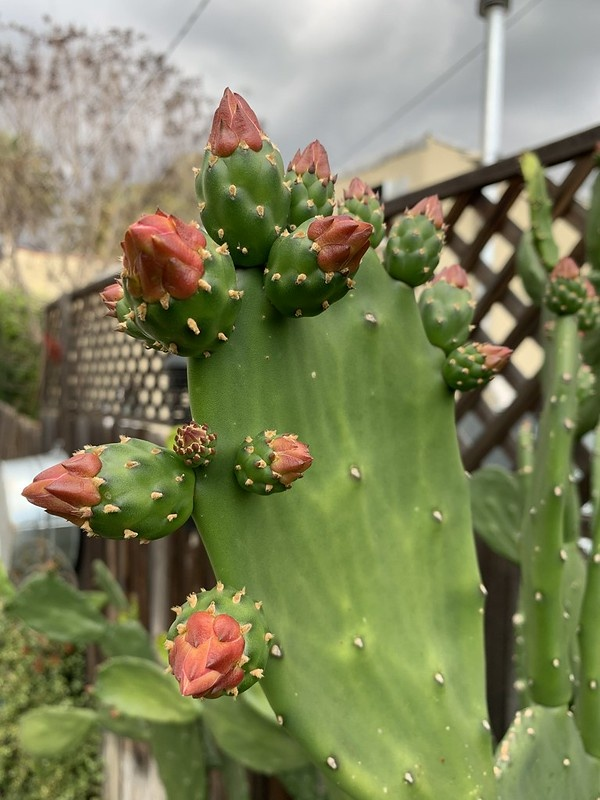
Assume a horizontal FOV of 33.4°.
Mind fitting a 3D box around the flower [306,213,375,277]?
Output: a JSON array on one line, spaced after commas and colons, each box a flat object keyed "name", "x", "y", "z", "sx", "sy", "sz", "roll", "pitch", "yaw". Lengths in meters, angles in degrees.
[{"name": "flower", "x": 0.036, "y": -0.147, "z": 0.931, "sx": 0.049, "sy": 0.061, "sz": 0.030, "roll": 0, "pitch": 29, "yaw": 6}]

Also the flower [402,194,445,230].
[{"name": "flower", "x": 0.133, "y": -0.214, "z": 1.110, "sx": 0.046, "sy": 0.037, "sz": 0.017, "roll": 6, "pitch": -3, "yaw": -4}]

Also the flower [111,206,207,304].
[{"name": "flower", "x": -0.116, "y": -0.126, "z": 0.907, "sx": 0.071, "sy": 0.083, "sz": 0.076, "roll": 15, "pitch": 31, "yaw": 9}]

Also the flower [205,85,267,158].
[{"name": "flower", "x": -0.065, "y": -0.261, "z": 0.971, "sx": 0.064, "sy": 0.077, "sz": 0.053, "roll": -7, "pitch": 21, "yaw": -19}]

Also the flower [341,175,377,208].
[{"name": "flower", "x": 0.068, "y": -0.241, "z": 1.148, "sx": 0.042, "sy": 0.023, "sz": 0.047, "roll": 2, "pitch": -1, "yaw": -15}]

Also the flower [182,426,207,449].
[{"name": "flower", "x": -0.099, "y": 0.034, "z": 0.944, "sx": 0.023, "sy": 0.020, "sz": 0.014, "roll": -8, "pitch": 3, "yaw": -8}]

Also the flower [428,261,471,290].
[{"name": "flower", "x": 0.162, "y": -0.135, "z": 1.105, "sx": 0.033, "sy": 0.043, "sz": 0.033, "roll": 10, "pitch": 6, "yaw": -11}]

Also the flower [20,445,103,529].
[{"name": "flower", "x": -0.202, "y": 0.084, "z": 0.892, "sx": 0.079, "sy": 0.058, "sz": 0.042, "roll": -4, "pitch": -2, "yaw": -7}]

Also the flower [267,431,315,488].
[{"name": "flower", "x": -0.011, "y": 0.055, "z": 0.936, "sx": 0.046, "sy": 0.043, "sz": 0.041, "roll": -1, "pitch": 34, "yaw": -14}]

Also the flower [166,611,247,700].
[{"name": "flower", "x": -0.079, "y": 0.233, "z": 0.889, "sx": 0.077, "sy": 0.069, "sz": 0.066, "roll": -9, "pitch": 3, "yaw": -22}]

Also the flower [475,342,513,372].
[{"name": "flower", "x": 0.202, "y": -0.053, "z": 1.077, "sx": 0.030, "sy": 0.031, "sz": 0.053, "roll": -31, "pitch": 13, "yaw": -8}]
